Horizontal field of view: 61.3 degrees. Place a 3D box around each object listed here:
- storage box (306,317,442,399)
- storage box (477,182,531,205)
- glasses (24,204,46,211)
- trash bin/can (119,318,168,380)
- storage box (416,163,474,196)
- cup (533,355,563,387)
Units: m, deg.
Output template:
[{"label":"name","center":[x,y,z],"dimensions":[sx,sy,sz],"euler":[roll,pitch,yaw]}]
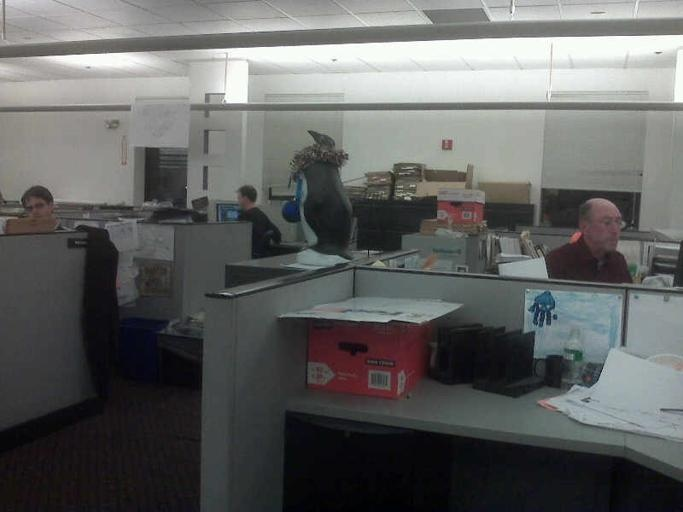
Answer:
[{"label":"storage box","center":[0.086,0.284,1.654],"dimensions":[0.308,0.170,0.306],"euler":[-1,-5,36]},{"label":"storage box","center":[0.389,-0.153,1.397],"dimensions":[0.085,0.057,0.173],"euler":[-5,10,-27]},{"label":"glasses","center":[-1.027,-0.170,1.937],"dimensions":[0.044,0.026,0.056],"euler":[-1,8,-15]},{"label":"trash bin/can","center":[-0.862,0.407,2.499],"dimensions":[0.164,0.209,0.223],"euler":[3,2,8]},{"label":"storage box","center":[0.265,-0.189,1.455],"dimensions":[0.117,0.086,0.193],"euler":[-2,9,-11]},{"label":"cup","center":[0.586,0.317,1.621],"dimensions":[0.090,0.107,0.074],"euler":[-1,1,35]}]
